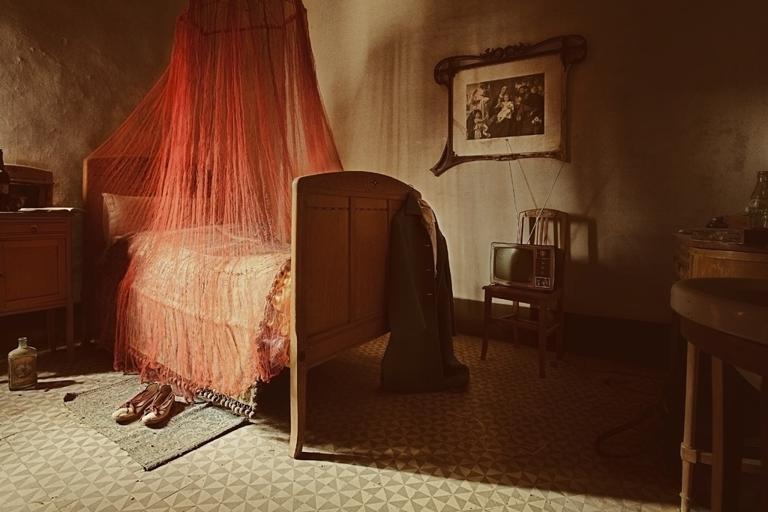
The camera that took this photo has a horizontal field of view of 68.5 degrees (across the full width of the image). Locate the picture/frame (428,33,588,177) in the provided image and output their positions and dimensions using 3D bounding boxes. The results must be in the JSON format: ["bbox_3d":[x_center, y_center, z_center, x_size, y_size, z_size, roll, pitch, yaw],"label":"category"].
[{"bbox_3d":[1.152,-1.353,4.987,1.322,1.032,0.087,3,8,37],"label":"picture/frame"}]

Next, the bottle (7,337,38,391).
[{"bbox_3d":[-2.561,0.755,3.999,0.177,0.351,0.202,-2,7,-35],"label":"bottle"}]

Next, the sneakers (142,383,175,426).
[{"bbox_3d":[-1.444,0.973,3.643,0.109,0.095,0.248,3,14,0],"label":"sneakers"}]

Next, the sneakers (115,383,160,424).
[{"bbox_3d":[-1.597,0.949,3.686,0.139,0.078,0.280,9,22,19],"label":"sneakers"}]

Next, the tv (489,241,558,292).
[{"bbox_3d":[1.073,0.070,4.392,0.501,0.371,0.338,1,0,33],"label":"tv"}]
